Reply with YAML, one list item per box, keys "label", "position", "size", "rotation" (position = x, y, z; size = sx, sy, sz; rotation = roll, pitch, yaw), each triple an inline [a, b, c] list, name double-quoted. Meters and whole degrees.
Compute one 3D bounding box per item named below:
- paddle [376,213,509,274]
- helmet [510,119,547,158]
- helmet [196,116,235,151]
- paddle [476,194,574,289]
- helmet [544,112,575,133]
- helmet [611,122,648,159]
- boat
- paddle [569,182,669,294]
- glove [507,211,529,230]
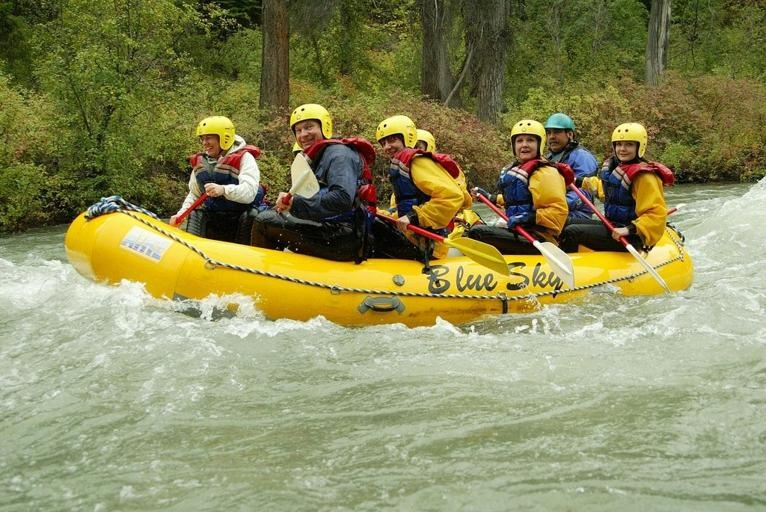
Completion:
- label: "paddle"
  position: [0.622, -0.110, 8.198]
  size: [1.690, 0.187, 0.080]
  rotation: [21, 24, 5]
- label: "helmet"
  position: [1.757, -1.446, 9.149]
  size: [0.448, 0.396, 0.575]
  rotation: [-1, 2, 21]
- label: "helmet"
  position: [-1.923, -1.455, 8.648]
  size: [0.467, 0.319, 0.350]
  rotation: [-21, 26, -18]
- label: "paddle"
  position: [1.702, -0.166, 8.640]
  size: [0.093, 0.342, 2.094]
  rotation: [22, 11, -38]
- label: "helmet"
  position: [2.461, -1.813, 9.940]
  size: [0.395, 0.150, 0.300]
  rotation: [4, -1, -37]
- label: "helmet"
  position: [3.073, -1.426, 9.160]
  size: [0.400, 0.433, 0.521]
  rotation: [2, 8, 15]
- label: "boat"
  position: [-0.215, 0.242, 8.006]
  size: [4.755, 0.724, 2.404]
  rotation: [4, -2, -21]
- label: "paddle"
  position: [2.878, -0.168, 8.863]
  size: [0.134, 0.218, 2.081]
  rotation: [7, 35, -44]
- label: "glove"
  position: [1.621, -0.426, 8.667]
  size: [0.225, 0.092, 0.198]
  rotation: [2, 44, 22]
